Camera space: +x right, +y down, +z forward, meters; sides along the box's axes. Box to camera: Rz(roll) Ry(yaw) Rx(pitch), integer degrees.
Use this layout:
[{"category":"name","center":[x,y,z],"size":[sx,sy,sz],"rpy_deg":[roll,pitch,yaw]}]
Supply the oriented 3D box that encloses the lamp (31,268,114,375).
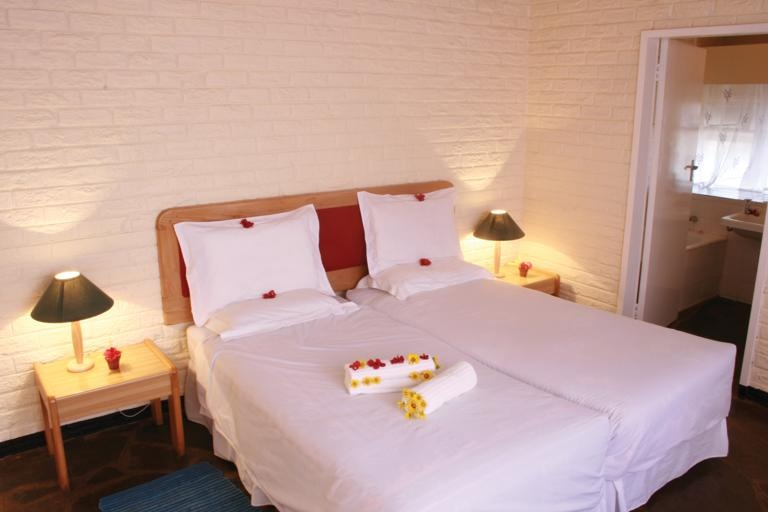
[{"category":"lamp","center":[-2.086,0.448,3.440],"size":[0.422,0.654,0.319],"rpy_deg":[4,21,17]}]

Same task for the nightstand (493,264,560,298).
[{"category":"nightstand","center":[1.379,0.211,5.085],"size":[0.428,0.342,0.428],"rpy_deg":[-14,21,-36]}]

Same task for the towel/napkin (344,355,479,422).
[{"category":"towel/napkin","center":[0.137,0.720,2.959],"size":[0.503,0.143,0.425],"rpy_deg":[-3,14,-25]}]

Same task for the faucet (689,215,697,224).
[{"category":"faucet","center":[3.489,-0.412,5.769],"size":[0.130,0.076,0.120],"rpy_deg":[3,10,27]}]
